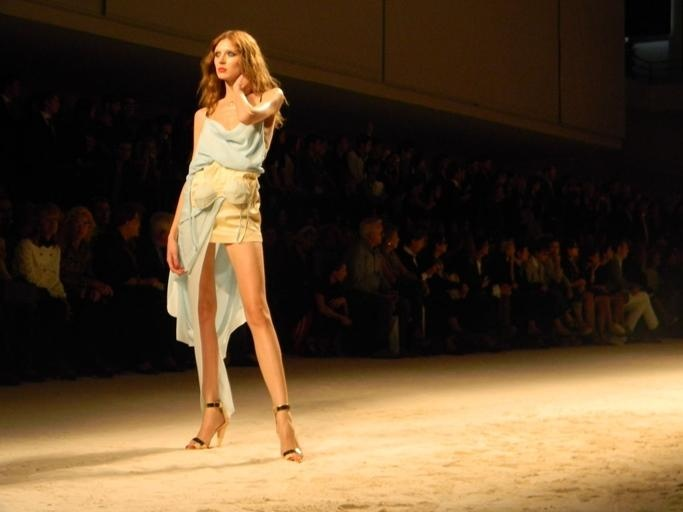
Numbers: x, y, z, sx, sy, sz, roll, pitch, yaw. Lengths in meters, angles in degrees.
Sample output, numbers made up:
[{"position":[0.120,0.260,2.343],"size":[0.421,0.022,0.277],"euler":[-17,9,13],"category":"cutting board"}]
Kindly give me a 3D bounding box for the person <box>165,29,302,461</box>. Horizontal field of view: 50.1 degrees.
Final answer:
[{"position":[-0.514,-0.092,3.483],"size":[0.800,1.431,0.321],"euler":[0,0,27],"category":"person"}]

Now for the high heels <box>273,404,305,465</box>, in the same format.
[{"position":[-0.240,0.786,3.237],"size":[0.083,0.134,0.298],"euler":[-14,18,-5],"category":"high heels"}]
